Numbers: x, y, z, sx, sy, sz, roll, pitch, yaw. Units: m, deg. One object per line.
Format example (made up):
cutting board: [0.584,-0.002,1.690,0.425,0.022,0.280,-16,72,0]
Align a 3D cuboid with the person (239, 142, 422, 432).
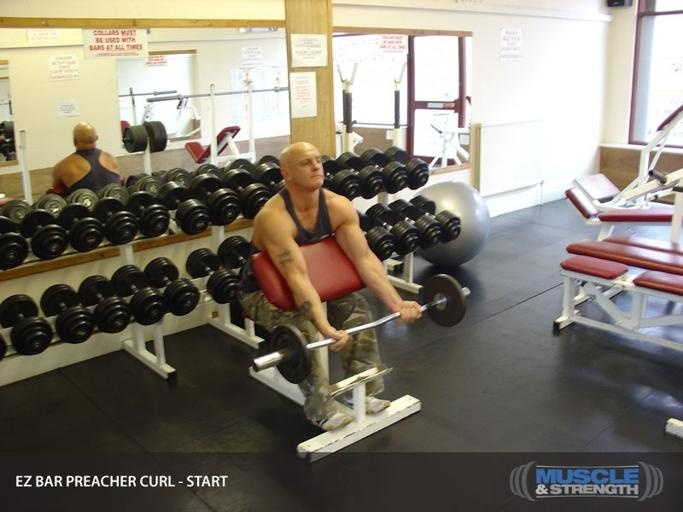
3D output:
person: [-0.110,0.126,2.193,0.843,1.168,0.609,9,17,35]
